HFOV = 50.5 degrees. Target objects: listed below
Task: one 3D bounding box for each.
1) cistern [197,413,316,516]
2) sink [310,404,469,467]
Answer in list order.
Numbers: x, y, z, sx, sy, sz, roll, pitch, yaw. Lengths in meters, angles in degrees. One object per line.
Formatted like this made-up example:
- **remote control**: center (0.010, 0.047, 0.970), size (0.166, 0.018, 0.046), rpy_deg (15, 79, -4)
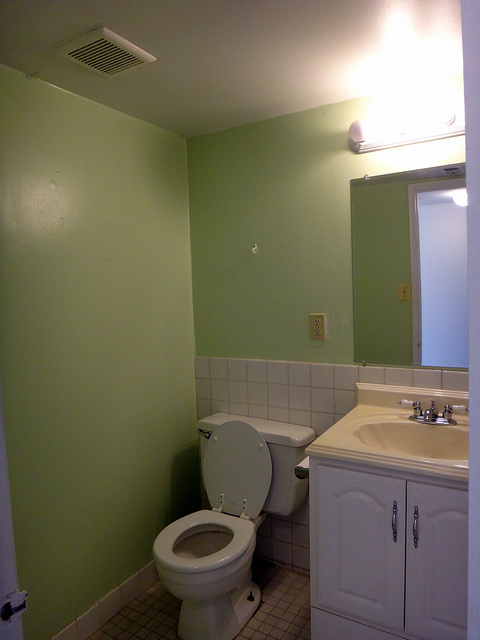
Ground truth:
- **cistern**: center (0.093, 0.596, 2.281), size (0.409, 0.480, 0.419), rpy_deg (9, 10, 31)
- **sink**: center (0.541, 0.406, 1.760), size (0.454, 0.144, 0.536), rpy_deg (-2, 6, 27)
